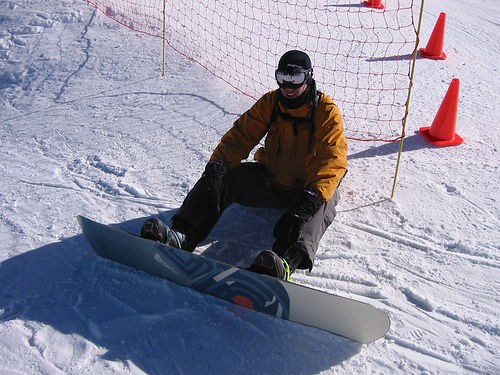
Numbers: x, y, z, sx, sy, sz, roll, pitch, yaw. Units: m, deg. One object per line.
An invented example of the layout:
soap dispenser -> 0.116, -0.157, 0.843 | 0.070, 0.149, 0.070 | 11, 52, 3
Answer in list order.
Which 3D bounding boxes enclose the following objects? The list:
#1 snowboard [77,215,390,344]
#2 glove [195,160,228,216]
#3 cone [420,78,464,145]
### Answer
snowboard -> -0.162, 0.786, 4.379 | 1.984, 0.482, 0.206 | 16, 43, 9
glove -> -0.330, -0.002, 4.654 | 0.170, 0.130, 0.523 | 2, 40, 10
cone -> 2.237, -0.819, 5.982 | 0.493, 0.721, 0.307 | 23, 21, 14
